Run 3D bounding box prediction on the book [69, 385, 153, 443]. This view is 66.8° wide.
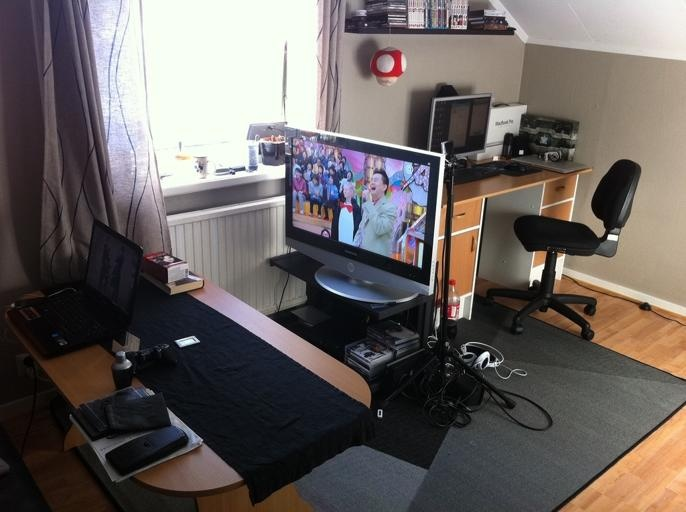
[{"bbox_3d":[-0.796,0.524,1.782,0.165,0.042,0.175,-13,28,-29],"label":"book"}]

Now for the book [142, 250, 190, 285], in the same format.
[{"bbox_3d":[-0.893,0.038,2.584,0.126,0.076,0.216,-19,31,-41],"label":"book"}]

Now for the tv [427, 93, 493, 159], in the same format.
[{"bbox_3d":[0.826,-0.953,3.758,0.686,0.509,0.072,-18,30,-32],"label":"tv"}]

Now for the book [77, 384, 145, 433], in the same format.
[{"bbox_3d":[-0.799,0.517,1.791,0.156,0.043,0.115,-17,34,-35],"label":"book"}]

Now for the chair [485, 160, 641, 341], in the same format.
[{"bbox_3d":[1.645,-0.051,3.917,0.875,1.221,0.903,2,24,0],"label":"chair"}]

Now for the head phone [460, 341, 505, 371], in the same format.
[{"bbox_3d":[0.902,0.644,3.384,0.176,0.080,0.184,8,29,13],"label":"head phone"}]

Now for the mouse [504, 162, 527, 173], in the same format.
[{"bbox_3d":[1.314,-0.667,3.976,0.112,0.061,0.177,-13,27,-23],"label":"mouse"}]

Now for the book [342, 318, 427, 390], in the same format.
[{"bbox_3d":[0.220,0.540,3.090,0.398,0.173,0.291,-25,36,-28],"label":"book"}]

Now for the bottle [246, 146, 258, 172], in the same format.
[{"bbox_3d":[-0.578,-0.623,3.296,0.070,0.157,0.078,-5,25,-10],"label":"bottle"}]

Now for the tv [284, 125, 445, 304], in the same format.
[{"bbox_3d":[0.100,-0.211,2.907,0.876,0.764,0.395,22,29,33],"label":"tv"}]

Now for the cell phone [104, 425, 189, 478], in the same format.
[{"bbox_3d":[-0.618,0.606,1.667,0.192,0.045,0.104,-20,37,-37],"label":"cell phone"}]

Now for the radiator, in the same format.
[{"bbox_3d":[-0.639,-0.042,3.048,0.688,0.623,0.073,-13,26,-29],"label":"radiator"}]

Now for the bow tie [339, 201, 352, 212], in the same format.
[{"bbox_3d":[0.016,-0.272,2.900,0.071,0.048,0.022,18,0,33],"label":"bow tie"}]
